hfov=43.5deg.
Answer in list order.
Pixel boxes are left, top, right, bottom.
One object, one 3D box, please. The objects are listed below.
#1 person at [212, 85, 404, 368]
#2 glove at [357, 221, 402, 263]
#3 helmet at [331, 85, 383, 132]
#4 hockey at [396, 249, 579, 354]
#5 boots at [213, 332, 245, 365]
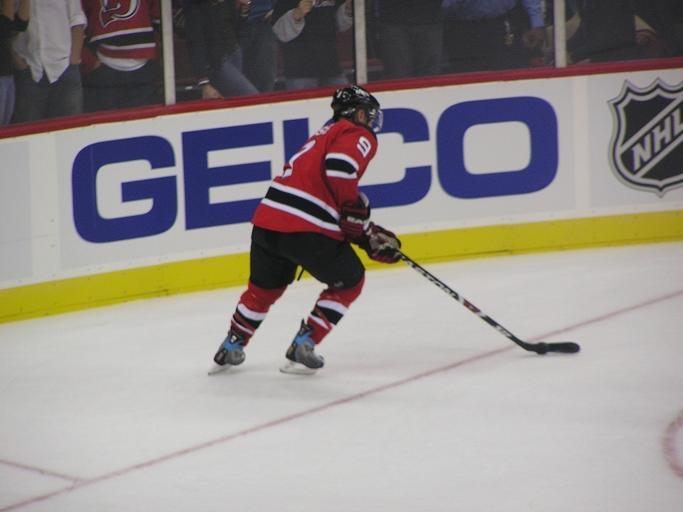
[{"bbox_3d":[-0.178,-0.019,4.658,0.930,1.326,0.517,-22,30,-35],"label":"person"},{"bbox_3d":[0.227,-0.071,4.716,0.253,0.103,0.190,-5,47,-48],"label":"glove"},{"bbox_3d":[0.080,-0.838,4.856,0.292,0.276,0.246,-2,12,-27],"label":"helmet"},{"bbox_3d":[0.938,0.310,5.428,1.103,0.073,0.330,24,72,25],"label":"hockey"},{"bbox_3d":[-0.626,0.531,4.838,0.175,0.171,0.112,29,23,18],"label":"boots"}]
